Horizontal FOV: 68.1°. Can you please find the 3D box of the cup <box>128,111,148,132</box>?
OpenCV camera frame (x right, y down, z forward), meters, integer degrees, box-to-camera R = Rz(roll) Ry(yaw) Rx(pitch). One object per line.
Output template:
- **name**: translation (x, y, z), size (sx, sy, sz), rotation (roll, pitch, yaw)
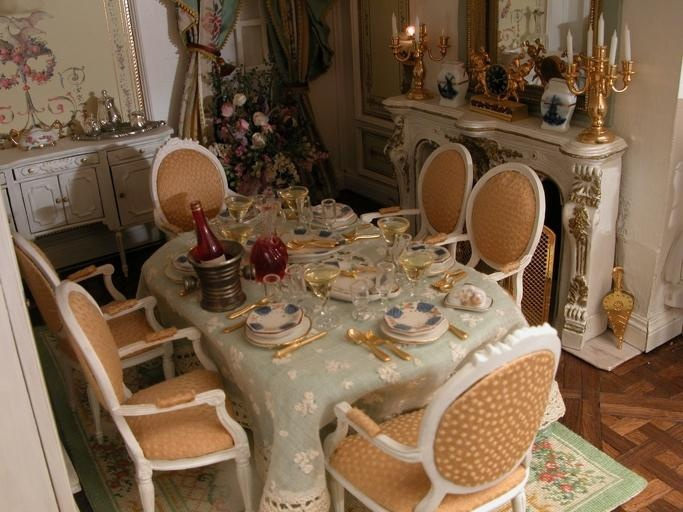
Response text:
- **cup**: translation (-1.554, -1.049, 3.940), size (0.129, 0.160, 0.132), rotation (0, 36, 0)
